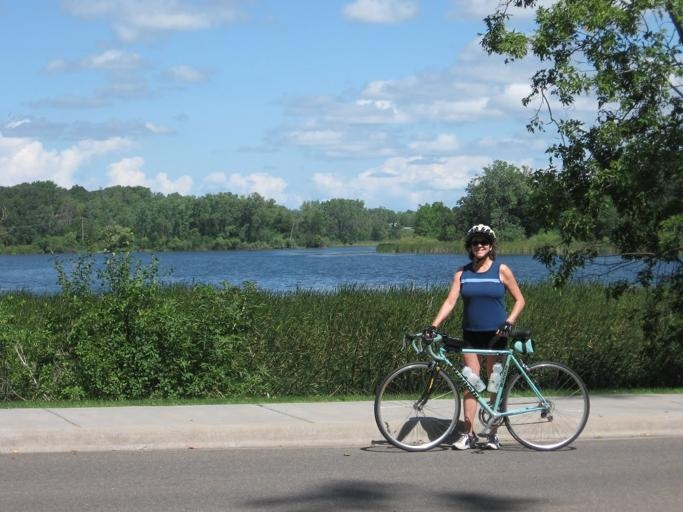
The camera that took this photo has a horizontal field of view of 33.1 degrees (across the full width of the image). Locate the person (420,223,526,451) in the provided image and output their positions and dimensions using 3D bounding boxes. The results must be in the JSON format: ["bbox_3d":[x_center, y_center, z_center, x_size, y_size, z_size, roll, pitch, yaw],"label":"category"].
[{"bbox_3d":[1.928,1.100,15.857,1.166,3.056,1.318,-2,2,7],"label":"person"}]

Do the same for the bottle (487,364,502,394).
[{"bbox_3d":[2.062,1.659,15.418,0.191,0.429,0.119,-1,3,32],"label":"bottle"}]

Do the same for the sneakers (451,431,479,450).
[{"bbox_3d":[1.675,2.518,15.546,0.428,0.193,0.152,4,-4,-33],"label":"sneakers"}]

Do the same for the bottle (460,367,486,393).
[{"bbox_3d":[1.772,1.673,15.423,0.313,0.364,0.173,-2,2,3],"label":"bottle"}]
